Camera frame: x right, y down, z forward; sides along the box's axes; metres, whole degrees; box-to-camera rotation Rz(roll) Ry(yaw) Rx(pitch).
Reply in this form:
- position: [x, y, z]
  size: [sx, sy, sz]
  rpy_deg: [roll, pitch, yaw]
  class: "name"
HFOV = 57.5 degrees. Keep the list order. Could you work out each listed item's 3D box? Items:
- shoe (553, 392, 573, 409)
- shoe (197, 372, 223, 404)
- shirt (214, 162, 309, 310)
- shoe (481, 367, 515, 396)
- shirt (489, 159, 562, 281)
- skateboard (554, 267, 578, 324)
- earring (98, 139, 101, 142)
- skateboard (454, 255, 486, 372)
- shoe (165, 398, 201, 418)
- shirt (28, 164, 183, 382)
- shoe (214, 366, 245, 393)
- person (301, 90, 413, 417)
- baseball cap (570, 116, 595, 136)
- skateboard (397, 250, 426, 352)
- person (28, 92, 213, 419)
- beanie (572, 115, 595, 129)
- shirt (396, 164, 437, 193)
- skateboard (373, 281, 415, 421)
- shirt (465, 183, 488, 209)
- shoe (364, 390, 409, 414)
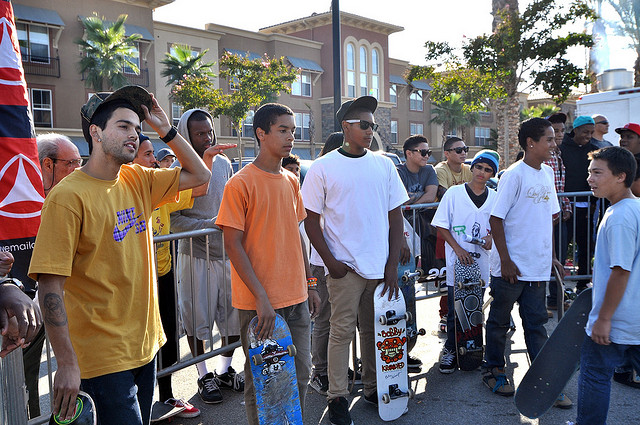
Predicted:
- position: [2.556, 2.000, 6.217]
  size: [0.243, 0.117, 0.117]
  rpy_deg: [-2, 3, 44]
  class: "shoe"
- position: [-1.228, 1.929, 6.466]
  size: [0.251, 0.248, 0.355]
  rpy_deg: [-4, 13, -17]
  class: "shoe"
- position: [-0.507, 0.195, 5.471]
  size: [0.606, 1.329, 1.137]
  rpy_deg: [7, 9, 43]
  class: "shirt"
- position: [2.002, 1.872, 6.574]
  size: [0.212, 0.256, 0.561]
  rpy_deg: [4, 2, -11]
  class: "shoe"
- position: [2.376, 0.074, 6.654]
  size: [0.887, 1.241, 0.512]
  rpy_deg: [-3, 5, -17]
  class: "shirt"
- position: [3.124, 0.956, 7.437]
  size: [0.365, 0.473, 0.774]
  rpy_deg: [3, -14, 22]
  class: "skateboard"
- position: [-1.715, -0.562, 4.531]
  size: [0.019, 0.019, 0.019]
  rpy_deg: [0, 11, -6]
  class: "earring"
- position: [1.766, 1.306, 6.873]
  size: [0.351, 0.208, 1.430]
  rpy_deg: [-15, 28, 23]
  class: "skateboard"
- position: [-1.418, 2.043, 6.121]
  size: [0.382, 0.164, 0.157]
  rpy_deg: [0, 0, 5]
  class: "shoe"
- position: [-1.731, 0.426, 4.775]
  size: [0.687, 1.596, 1.369]
  rpy_deg: [1, 9, 25]
  class: "shirt"
- position: [-1.004, 1.905, 6.692]
  size: [0.495, 0.218, 0.184]
  rpy_deg: [7, 9, 11]
  class: "shoe"
- position: [0.401, 0.461, 6.091]
  size: [1.060, 3.266, 0.933]
  rpy_deg: [-7, 14, -25]
  class: "person"
- position: [4.391, -1.469, 9.742]
  size: [0.281, 0.321, 0.405]
  rpy_deg: [-6, -3, -2]
  class: "baseball cap"
- position: [1.013, 0.982, 6.750]
  size: [0.294, 1.230, 0.179]
  rpy_deg: [1, -7, -42]
  class: "skateboard"
- position: [-1.644, 0.378, 4.611]
  size: [0.687, 2.553, 1.430]
  rpy_deg: [4, 13, 23]
  class: "person"
- position: [4.405, -1.506, 9.701]
  size: [0.242, 0.253, 0.317]
  rpy_deg: [-3, 0, -1]
  class: "beanie"
- position: [1.386, -0.475, 8.396]
  size: [0.479, 0.456, 0.260]
  rpy_deg: [-6, -11, -22]
  class: "shirt"
- position: [0.751, 1.456, 6.012]
  size: [0.381, 1.500, 0.209]
  rpy_deg: [3, -7, -30]
  class: "skateboard"
- position: [1.937, -0.195, 7.163]
  size: [0.206, 0.302, 0.109]
  rpy_deg: [6, 13, 2]
  class: "shirt"
- position: [0.739, 2.006, 6.259]
  size: [0.499, 0.237, 0.191]
  rpy_deg: [-3, 2, 19]
  class: "shoe"
